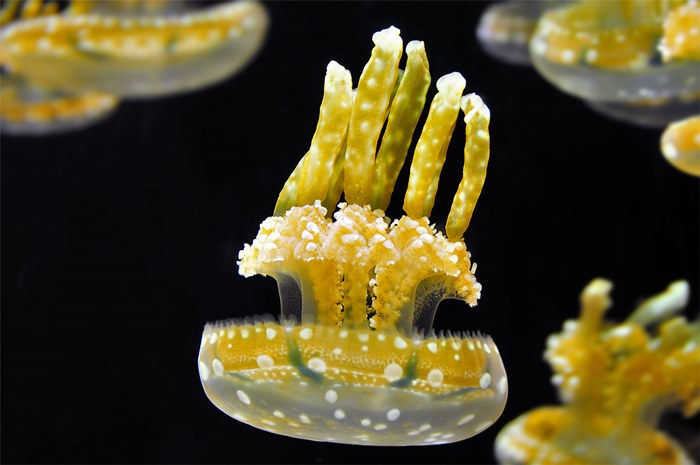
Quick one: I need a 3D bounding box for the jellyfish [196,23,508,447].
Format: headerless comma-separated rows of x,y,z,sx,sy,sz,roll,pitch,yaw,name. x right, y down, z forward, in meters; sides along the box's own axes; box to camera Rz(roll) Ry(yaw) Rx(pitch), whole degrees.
-0.034,0.158,5.059,1.353,1.220,2.354,-1,91,-4,jellyfish
